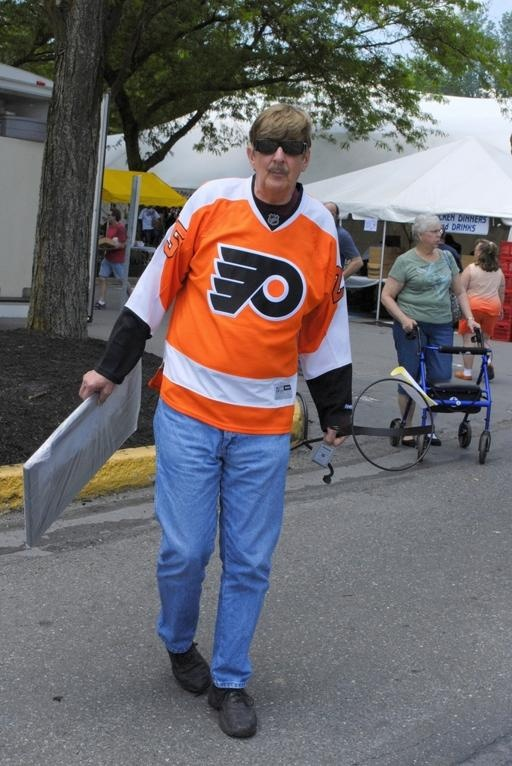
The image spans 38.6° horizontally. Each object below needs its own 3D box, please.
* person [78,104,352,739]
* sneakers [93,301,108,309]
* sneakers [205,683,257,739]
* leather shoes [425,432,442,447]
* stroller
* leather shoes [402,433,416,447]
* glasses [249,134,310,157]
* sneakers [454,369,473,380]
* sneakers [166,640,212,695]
[{"bbox_3d":[-0.111,0.094,2.374,0.676,1.896,0.621,9,10,21],"label":"person"},{"bbox_3d":[-3.073,-1.484,14.189,0.349,0.146,0.129,9,10,35],"label":"sneakers"},{"bbox_3d":[-0.077,0.998,2.245,0.076,0.077,0.197,-1,4,-24],"label":"sneakers"},{"bbox_3d":[1.525,0.491,6.281,0.142,0.040,0.146,16,20,19],"label":"leather shoes"},{"bbox_3d":[1.604,0.094,6.183,0.683,0.946,1.066,4,6,3],"label":"stroller"},{"bbox_3d":[1.327,0.501,6.296,0.142,0.122,0.134,0,-4,17],"label":"leather shoes"},{"bbox_3d":[0.070,-0.665,2.095,0.153,0.051,0.083,5,8,2],"label":"glasses"},{"bbox_3d":[2.729,-0.100,9.538,0.127,0.103,0.258,1,8,-15],"label":"sneakers"},{"bbox_3d":[-0.233,0.946,2.468,0.106,0.120,0.213,-19,13,-27],"label":"sneakers"}]
